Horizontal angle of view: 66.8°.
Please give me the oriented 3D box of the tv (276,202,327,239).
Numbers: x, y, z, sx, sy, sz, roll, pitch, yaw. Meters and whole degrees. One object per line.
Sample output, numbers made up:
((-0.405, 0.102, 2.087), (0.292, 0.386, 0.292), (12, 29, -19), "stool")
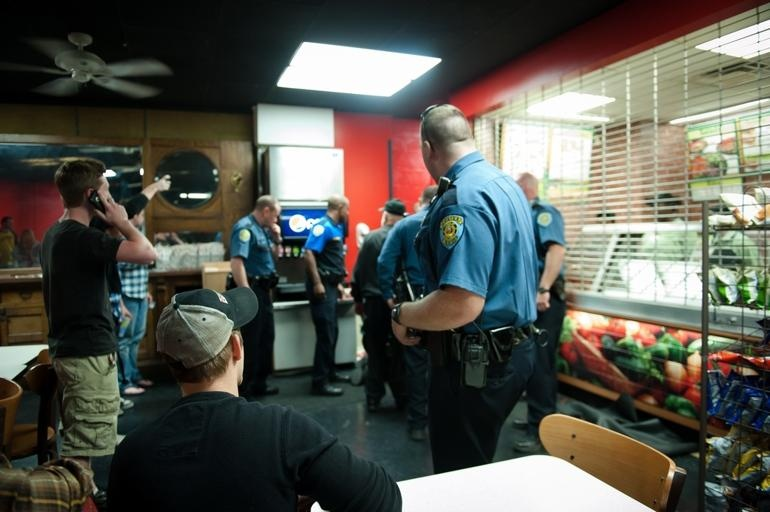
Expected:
((-0.860, -0.368, 6.774), (0.614, 0.384, 0.345), (1, -1, 7), "tv")

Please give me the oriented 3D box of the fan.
((-2.563, -1.633, 5.180), (0.835, 0.310, 0.897), (-9, 8, -20), "fan")

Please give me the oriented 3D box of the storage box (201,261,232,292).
((-1.726, 0.221, 6.014), (0.359, 0.311, 0.187), (0, 6, -17), "storage box")

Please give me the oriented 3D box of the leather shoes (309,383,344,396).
((-0.562, 1.291, 5.678), (0.252, 0.099, 0.127), (0, 0, 8), "leather shoes")

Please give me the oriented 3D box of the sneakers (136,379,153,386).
((-2.440, 1.290, 5.950), (0.122, 0.049, 0.063), (1, 8, -15), "sneakers")

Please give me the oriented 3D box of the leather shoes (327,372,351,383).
((-0.460, 1.238, 5.942), (0.272, 0.092, 0.088), (1, 4, -12), "leather shoes")
